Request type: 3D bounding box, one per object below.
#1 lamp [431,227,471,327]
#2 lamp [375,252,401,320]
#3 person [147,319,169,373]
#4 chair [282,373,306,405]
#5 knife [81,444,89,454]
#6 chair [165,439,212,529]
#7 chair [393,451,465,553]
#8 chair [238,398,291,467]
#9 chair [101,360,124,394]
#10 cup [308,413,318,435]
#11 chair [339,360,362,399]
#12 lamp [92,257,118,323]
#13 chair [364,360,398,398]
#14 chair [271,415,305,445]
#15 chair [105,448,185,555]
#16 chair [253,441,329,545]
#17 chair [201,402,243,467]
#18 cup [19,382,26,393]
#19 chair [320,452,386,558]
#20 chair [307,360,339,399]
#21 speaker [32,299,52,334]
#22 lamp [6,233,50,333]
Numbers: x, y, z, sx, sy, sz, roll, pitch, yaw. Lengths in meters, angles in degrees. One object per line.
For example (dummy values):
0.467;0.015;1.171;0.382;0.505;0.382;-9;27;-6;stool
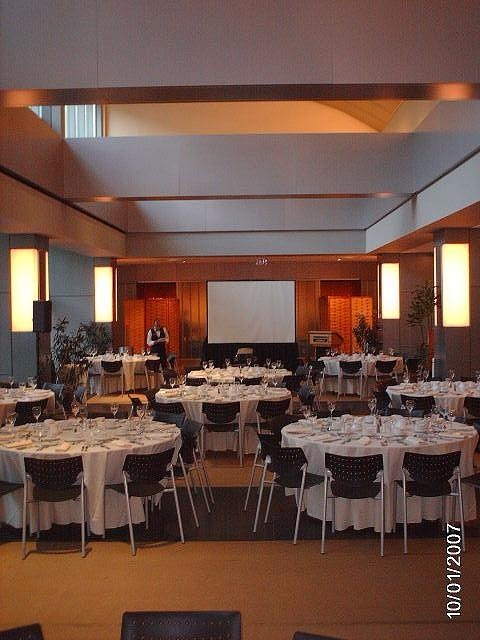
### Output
3.342;-0.648;8.810;0.497;1.526;0.364;2;6;24;lamp
3.422;-0.790;12.773;0.392;1.626;0.547;1;36;17;lamp
-1.764;0.693;12.204;0.403;1.529;0.421;-6;26;-13;person
0.830;1.079;8.768;0.327;0.807;0.476;1;-3;0;chair
-1.173;0.978;4.242;0.029;0.051;0.116;1;-9;-7;knife
-0.469;1.448;5.108;0.316;0.745;0.359;-11;-3;18;chair
1.390;1.279;4.147;0.428;0.820;0.514;-6;8;-10;chair
0.240;1.305;6.614;0.508;1.182;0.675;0;1;-16;chair
-2.489;1.124;10.977;0.438;0.847;1.023;-2;7;-13;chair
0.629;0.924;4.938;0.084;0.191;0.097;-1;-6;-3;cup
2.034;1.038;10.396;0.425;1.055;0.604;0;6;11;chair
-2.950;-0.649;12.276;0.489;1.350;0.528;-3;6;-18;lamp
2.392;1.000;9.625;0.446;1.072;0.617;0;4;-6;chair
0.446;1.082;5.540;0.196;0.354;0.214;0;-5;-1;chair
-0.686;1.308;4.166;0.402;0.732;0.496;-2;1;-10;chair
0.370;1.231;4.078;0.260;0.621;0.355;5;-10;-15;chair
-0.207;1.230;6.498;0.402;0.870;0.523;1;18;2;chair
-2.984;0.928;7.704;0.057;0.141;0.114;1;0;5;cup
0.846;1.300;4.166;0.393;0.894;0.505;-1;10;10;chair
1.525;1.072;10.262;0.460;0.855;0.458;1;4;35;chair
-2.890;-0.049;8.209;0.214;0.484;0.415;-1;6;-2;speaker
-3.212;-0.573;8.485;0.453;1.418;0.687;-1;6;-4;lamp
